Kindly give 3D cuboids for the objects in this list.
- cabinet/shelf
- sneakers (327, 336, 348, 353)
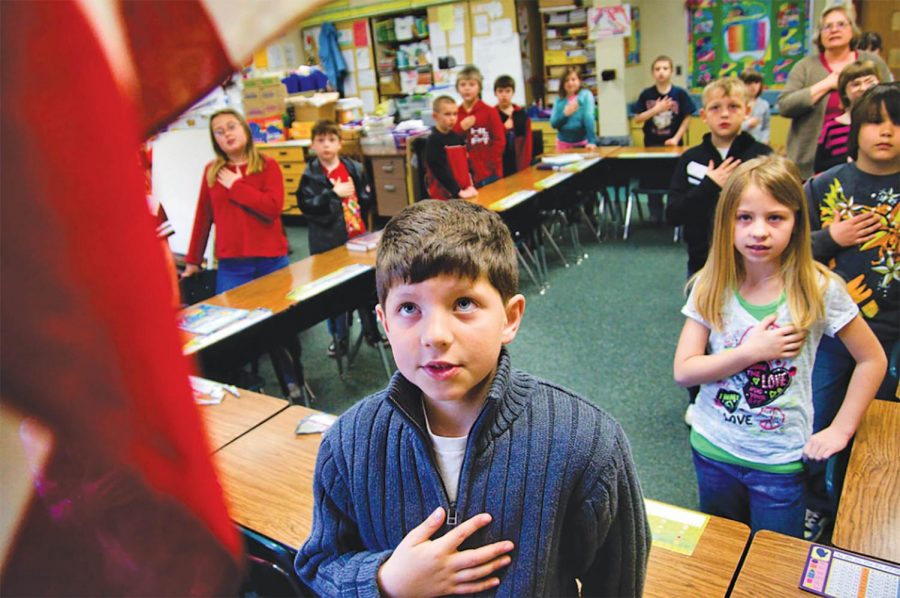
[{"bbox_3d":[-1.338,-1.806,7.722,2.335,1.132,1.243,2,18,9],"label":"cabinet/shelf"},{"bbox_3d":[-0.796,0.317,4.325,0.090,0.099,0.239,0,3,3],"label":"sneakers"}]
